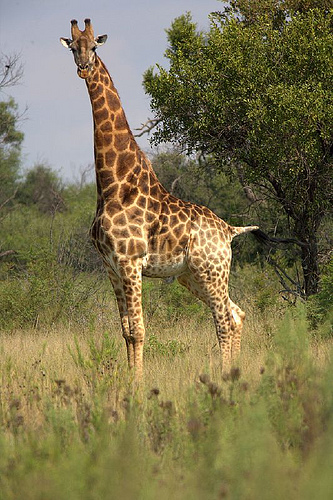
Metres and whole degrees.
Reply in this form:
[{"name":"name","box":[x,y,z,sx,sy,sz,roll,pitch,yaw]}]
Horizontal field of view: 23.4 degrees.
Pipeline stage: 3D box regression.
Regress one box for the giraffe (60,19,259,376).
[{"name":"giraffe","box":[-0.126,-0.483,7.306,1.604,3.151,0.654,-1,-2,-22]}]
